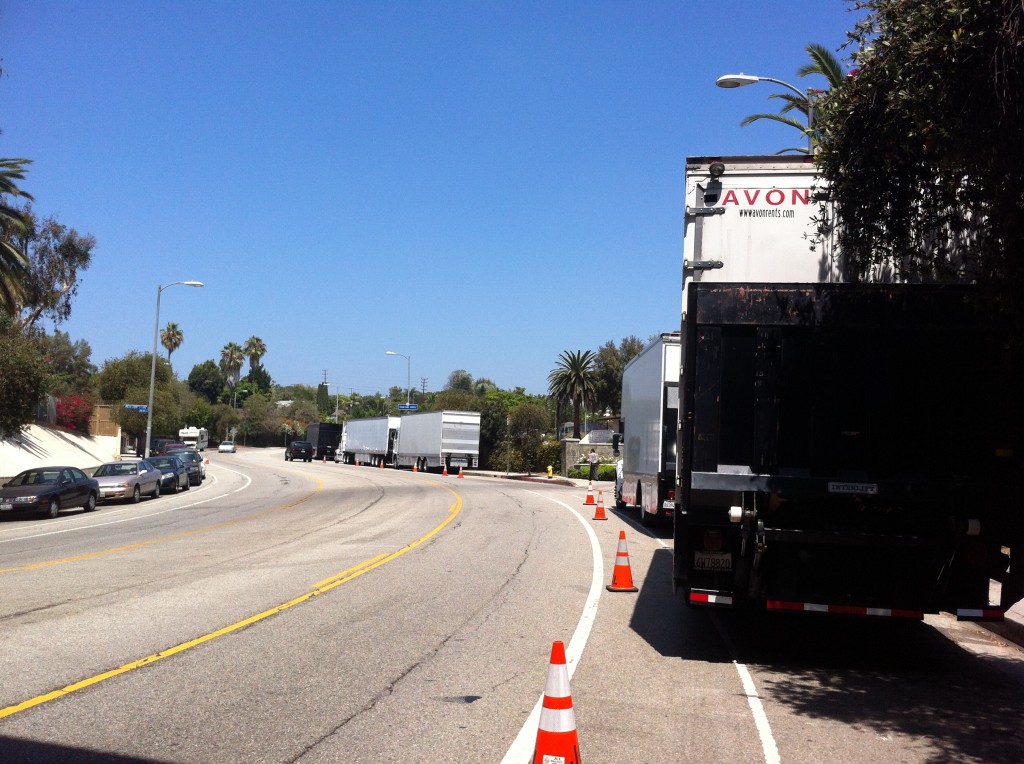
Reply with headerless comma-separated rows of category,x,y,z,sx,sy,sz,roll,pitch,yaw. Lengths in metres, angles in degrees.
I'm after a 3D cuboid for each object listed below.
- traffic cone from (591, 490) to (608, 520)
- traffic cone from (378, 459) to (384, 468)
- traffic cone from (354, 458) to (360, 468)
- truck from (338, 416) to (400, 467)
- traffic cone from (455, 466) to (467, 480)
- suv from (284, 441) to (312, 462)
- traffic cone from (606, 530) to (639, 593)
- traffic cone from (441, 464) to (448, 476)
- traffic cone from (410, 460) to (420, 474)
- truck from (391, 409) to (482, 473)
traffic cone,2.759,3.715,24.142,0.572,0.910,0.709,1,-9,-3
traffic cone,-10.804,6.753,66.468,0.406,0.885,0.786,6,-14,-25
traffic cone,-13.848,7.296,72.743,0.328,0.756,0.360,4,-12,-24
truck,-12.127,5.191,69.932,2.177,3.913,7.722,3,-5,-42
traffic cone,-3.353,5.968,53.321,0.659,0.941,0.831,2,-11,-5
suv,-21.855,7.096,82.994,1.813,1.929,3.607,1,2,-21
traffic cone,1.812,2.934,13.320,0.588,0.895,0.620,3,-5,-33
traffic cone,-4.448,5.846,53.143,0.489,0.849,0.553,3,-2,-5
traffic cone,-6.875,6.066,58.113,0.638,1.115,0.740,2,-8,-8
truck,-5.960,4.334,57.287,2.513,4.290,7.757,5,-6,-39
